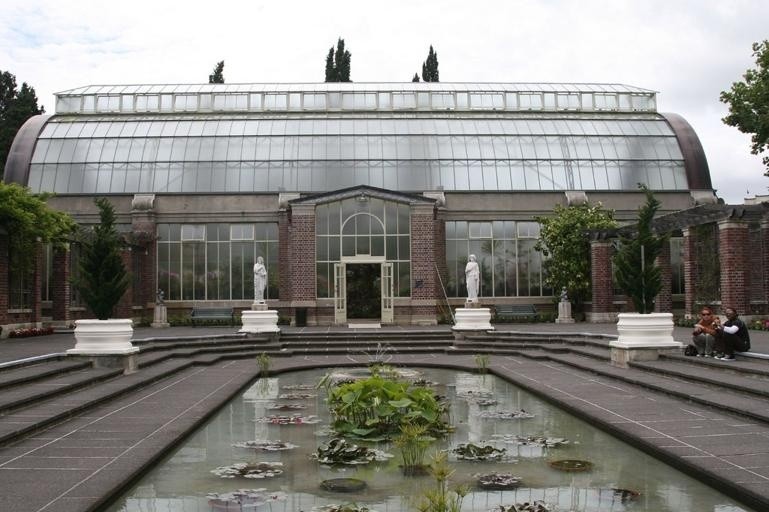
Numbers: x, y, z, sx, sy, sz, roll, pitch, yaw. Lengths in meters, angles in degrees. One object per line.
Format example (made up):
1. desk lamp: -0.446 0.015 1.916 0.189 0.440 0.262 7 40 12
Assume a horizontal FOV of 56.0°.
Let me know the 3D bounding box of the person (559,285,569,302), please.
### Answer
1. person: 9.201 1.924 37.155 0.389 0.699 1.011 0 3 12

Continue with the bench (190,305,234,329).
1. bench: -9.038 3.106 37.772 2.277 0.682 1.815 -1 3 -2

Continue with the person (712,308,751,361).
1. person: 9.096 2.009 18.986 0.830 1.280 0.820 0 3 23

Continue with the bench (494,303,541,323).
1. bench: 6.984 2.962 38.261 2.324 0.721 1.838 0 3 7
